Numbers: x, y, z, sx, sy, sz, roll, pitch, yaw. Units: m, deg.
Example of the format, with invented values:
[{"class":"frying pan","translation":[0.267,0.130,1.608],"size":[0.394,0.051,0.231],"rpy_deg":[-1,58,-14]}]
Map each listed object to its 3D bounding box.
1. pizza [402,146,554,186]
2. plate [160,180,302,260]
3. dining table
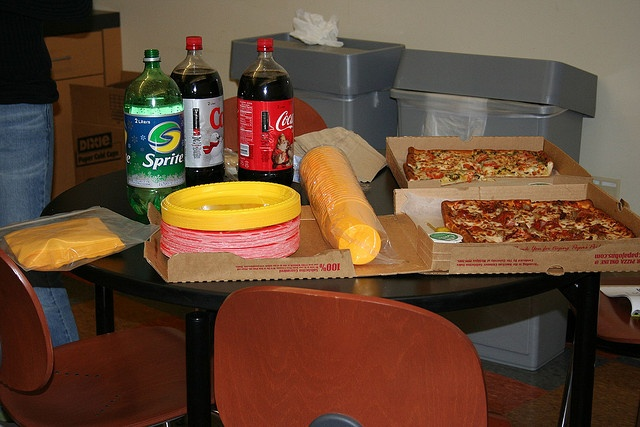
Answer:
[{"class":"pizza","translation":[0.490,-0.152,1.694],"size":[0.346,0.059,0.199],"rpy_deg":[1,21,1]},{"class":"plate","translation":[-0.194,-0.030,1.145],"size":[0.214,0.075,0.211],"rpy_deg":[11,22,25]},{"class":"dining table","translation":[0.088,0.119,1.335],"size":[0.860,0.442,0.860],"rpy_deg":[2,19,1]}]
